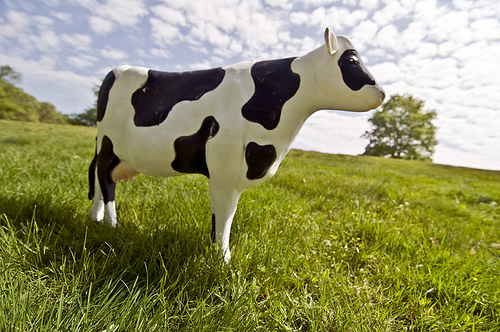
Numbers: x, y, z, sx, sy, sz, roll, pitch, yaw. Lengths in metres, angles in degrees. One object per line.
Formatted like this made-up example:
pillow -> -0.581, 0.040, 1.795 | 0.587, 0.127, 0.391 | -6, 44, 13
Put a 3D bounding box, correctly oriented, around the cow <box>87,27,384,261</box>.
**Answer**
cow -> -0.273, -0.166, 3.498 | 2.665, 2.049, 0.930 | 4, 12, 11
